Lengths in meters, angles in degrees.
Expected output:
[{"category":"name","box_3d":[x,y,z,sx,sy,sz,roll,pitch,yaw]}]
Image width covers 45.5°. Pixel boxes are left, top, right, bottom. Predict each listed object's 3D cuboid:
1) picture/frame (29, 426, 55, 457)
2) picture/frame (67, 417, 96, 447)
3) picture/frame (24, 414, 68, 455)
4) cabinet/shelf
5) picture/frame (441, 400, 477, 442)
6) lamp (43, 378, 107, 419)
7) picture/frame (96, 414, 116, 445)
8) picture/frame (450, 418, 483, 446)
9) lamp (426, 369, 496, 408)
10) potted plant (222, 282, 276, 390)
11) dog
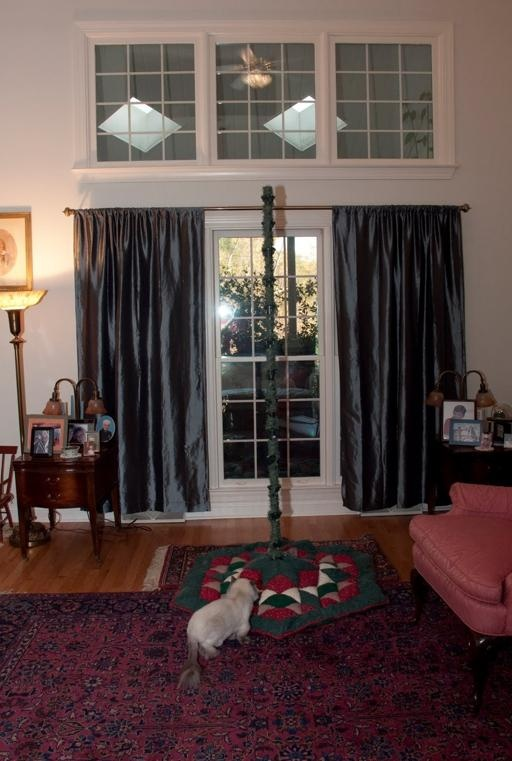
[{"category":"picture/frame","box_3d":[-1.266,0.363,3.607,0.152,0.208,0.023,-2,-17,-2]},{"category":"picture/frame","box_3d":[-1.063,0.319,3.711,0.166,0.178,0.012,-1,-10,1]},{"category":"picture/frame","box_3d":[-1.252,0.329,3.641,0.223,0.246,0.017,-1,-1,-1]},{"category":"cabinet/shelf","box_3d":[-1.079,0.711,3.636,0.477,0.600,0.635,-1,2,2]},{"category":"picture/frame","box_3d":[1.222,0.248,3.660,0.246,0.354,0.033,2,-24,8]},{"category":"lamp","box_3d":[-1.128,0.116,3.851,0.228,0.222,0.104,-2,12,-6]},{"category":"picture/frame","box_3d":[-0.944,0.315,3.839,0.183,0.235,0.024,1,-15,-12]},{"category":"picture/frame","box_3d":[1.228,0.298,3.658,0.225,0.233,0.131,0,-3,11]},{"category":"lamp","box_3d":[1.261,0.033,3.818,0.386,0.226,0.587,0,6,16]},{"category":"potted plant","box_3d":[-0.091,-0.288,4.109,0.310,0.823,0.131,-1,5,9]},{"category":"dog","box_3d":[-0.145,0.989,2.434,0.127,0.217,0.498,6,20,43]}]
